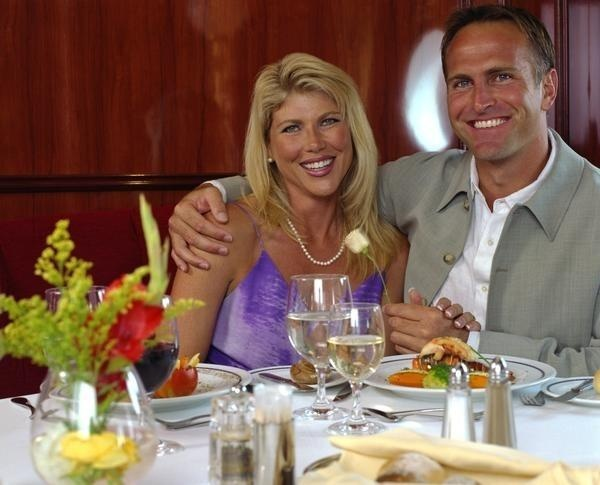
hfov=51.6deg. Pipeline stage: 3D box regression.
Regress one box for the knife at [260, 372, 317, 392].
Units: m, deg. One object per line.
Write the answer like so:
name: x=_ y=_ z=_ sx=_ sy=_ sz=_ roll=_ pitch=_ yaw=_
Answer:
knife: x=-0.030 y=0.364 z=1.615 sx=0.187 sy=0.010 sz=0.052 roll=9 pitch=11 yaw=43

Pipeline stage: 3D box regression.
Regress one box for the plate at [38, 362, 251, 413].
plate: x=-0.281 y=0.271 z=1.145 sx=0.175 sy=0.045 sz=0.198 roll=-1 pitch=0 yaw=-2

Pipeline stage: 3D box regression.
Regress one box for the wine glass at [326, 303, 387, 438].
wine glass: x=0.119 y=0.269 z=1.361 sx=0.122 sy=0.269 sz=0.217 roll=-2 pitch=-4 yaw=2

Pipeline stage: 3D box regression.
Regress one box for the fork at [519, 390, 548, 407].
fork: x=0.559 y=0.376 z=1.497 sx=0.029 sy=0.023 sz=0.044 roll=0 pitch=-5 yaw=-7
